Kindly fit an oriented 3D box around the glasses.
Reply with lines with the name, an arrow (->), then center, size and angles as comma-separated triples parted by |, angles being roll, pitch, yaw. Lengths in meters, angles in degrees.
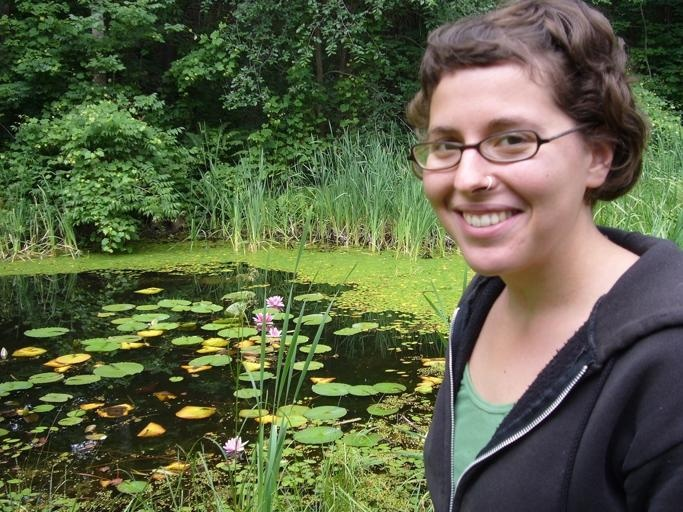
glasses -> 0.305, -0.243, 1.465 | 0.165, 0.101, 0.408 | -14, 18, -42
